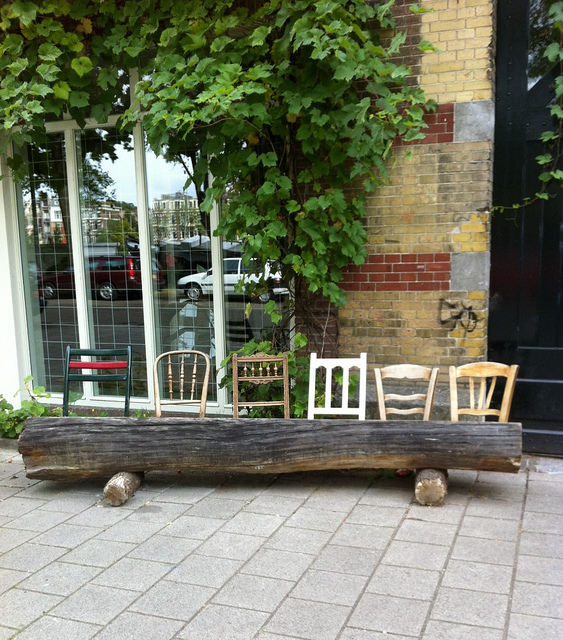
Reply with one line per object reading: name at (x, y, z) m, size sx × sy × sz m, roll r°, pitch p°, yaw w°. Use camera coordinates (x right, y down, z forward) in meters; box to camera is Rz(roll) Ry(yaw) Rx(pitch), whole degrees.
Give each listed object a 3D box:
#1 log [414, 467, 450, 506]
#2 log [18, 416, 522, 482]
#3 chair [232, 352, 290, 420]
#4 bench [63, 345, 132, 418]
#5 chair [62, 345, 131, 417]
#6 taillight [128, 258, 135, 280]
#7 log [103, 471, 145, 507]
log at (0.890, 0.978, 3.848) m, size 0.188 × 0.199 × 0.202 m, roll -1°, pitch 8°, yaw 10°
log at (-0.066, 0.794, 3.998) m, size 3.121 × 0.357 × 0.549 m, roll 0°, pitch -2°, yaw 3°
chair at (-0.136, 0.440, 4.582) m, size 0.387 × 0.461 × 0.701 m, roll -3°, pitch 7°, yaw -1°
bench at (-1.487, 0.514, 5.298) m, size 0.845 × 0.707 × 0.098 m, roll 1°, pitch 6°, yaw -2°
chair at (-1.400, 0.365, 4.923) m, size 0.507 × 0.458 × 0.699 m, roll -1°, pitch 41°, yaw -11°
taillight at (-1.324, -0.439, 5.708) m, size 0.072 × 0.176 × 0.028 m, roll 1°, pitch 11°, yaw 27°
log at (-0.980, 1.053, 4.024) m, size 0.103 × 0.078 × 0.181 m, roll 24°, pitch 5°, yaw 1°
